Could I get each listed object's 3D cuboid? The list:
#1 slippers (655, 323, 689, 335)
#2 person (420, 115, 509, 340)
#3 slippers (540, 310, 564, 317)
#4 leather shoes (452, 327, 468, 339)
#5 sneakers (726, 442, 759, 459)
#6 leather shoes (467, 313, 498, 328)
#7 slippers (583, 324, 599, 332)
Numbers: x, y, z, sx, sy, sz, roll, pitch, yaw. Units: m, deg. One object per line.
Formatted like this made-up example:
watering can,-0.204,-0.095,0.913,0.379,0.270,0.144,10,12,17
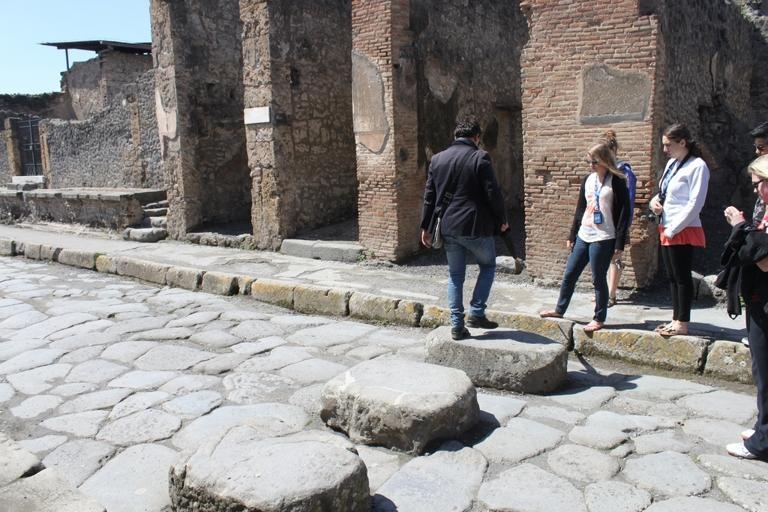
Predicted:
slippers,2.915,0.740,5.966,0.244,0.097,0.157,1,3,10
person,0.775,-0.283,5.797,0.593,2.088,0.731,-6,10,-38
slippers,1.838,0.621,6.441,0.218,0.086,0.085,8,13,26
leather shoes,0.731,0.743,5.694,0.075,0.083,0.199,6,10,43
sneakers,2.706,1.447,4.440,0.209,0.090,0.077,8,11,42
leather shoes,0.984,0.658,5.967,0.326,0.156,0.115,-1,4,2
slippers,2.206,0.758,6.223,0.130,0.047,0.074,1,2,2
